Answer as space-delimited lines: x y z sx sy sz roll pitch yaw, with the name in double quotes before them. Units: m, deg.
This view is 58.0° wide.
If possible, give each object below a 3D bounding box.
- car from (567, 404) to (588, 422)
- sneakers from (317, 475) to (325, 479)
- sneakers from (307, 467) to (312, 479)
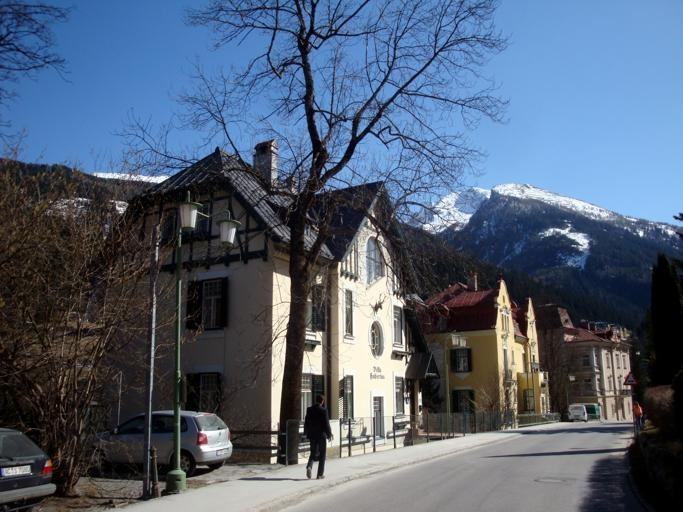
"car" 24.032 15.942 63.142 1.178 1.430 2.179 -2 -11 19
"sneakers" -0.613 6.620 18.603 0.190 0.151 0.496 -6 -17 6
"sneakers" -0.973 6.496 18.464 0.103 0.129 0.330 0 -55 1
